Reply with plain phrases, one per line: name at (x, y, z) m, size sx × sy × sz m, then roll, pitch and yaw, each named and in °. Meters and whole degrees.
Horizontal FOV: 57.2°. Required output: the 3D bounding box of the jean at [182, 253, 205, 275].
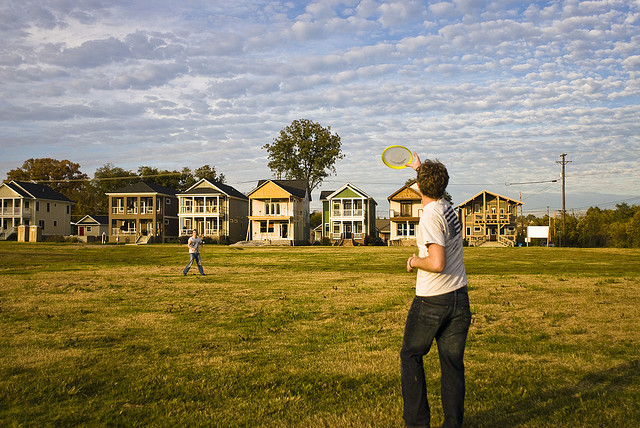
jean at (-6.017, 2.402, 27.959) m, size 0.999 × 1.171 × 0.395 m, roll 3°, pitch -45°, yaw -5°

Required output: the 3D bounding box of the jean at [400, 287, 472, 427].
jean at (1.842, 2.277, 9.411) m, size 1.057 × 2.231 × 0.604 m, roll 1°, pitch 9°, yaw 12°
